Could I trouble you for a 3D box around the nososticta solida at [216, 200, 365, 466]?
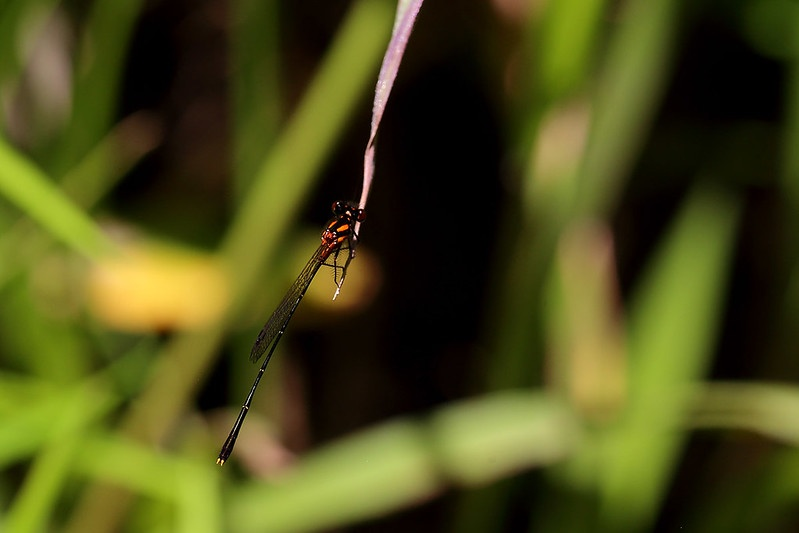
[{"bbox_3d":[-0.153,0.096,1.083,0.061,0.113,0.342,19,75,50],"label":"nososticta solida"}]
